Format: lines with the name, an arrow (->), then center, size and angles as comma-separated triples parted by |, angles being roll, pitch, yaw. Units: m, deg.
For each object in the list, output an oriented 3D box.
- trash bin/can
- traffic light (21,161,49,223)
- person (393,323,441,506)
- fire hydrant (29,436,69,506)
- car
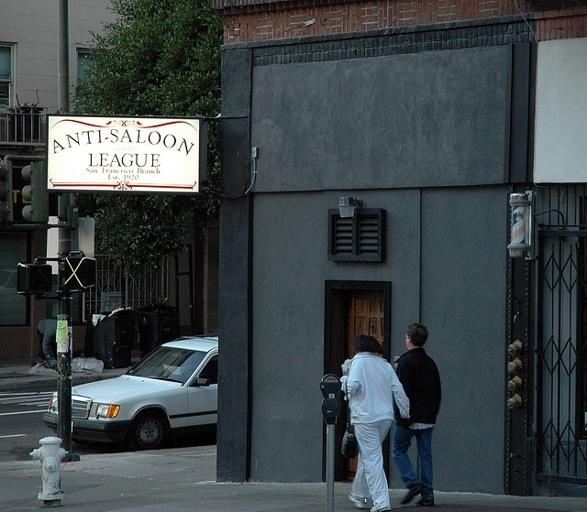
trash bin/can -> -3.764, 1.788, 31.997 | 1.728, 1.413, 1.187 | -5, 4, -37
traffic light -> -3.603, -0.875, 19.135 | 0.385, 0.832, 1.023 | 1, -2, -12
person -> 1.470, 1.887, 16.524 | 0.427, 1.986, 0.764 | 0, -1, 2
fire hydrant -> -3.094, 2.710, 17.357 | 0.393, 0.848, 0.405 | 1, -2, -11
car -> -2.367, 2.194, 22.046 | 2.356, 1.727, 1.376 | 1, -2, -18
